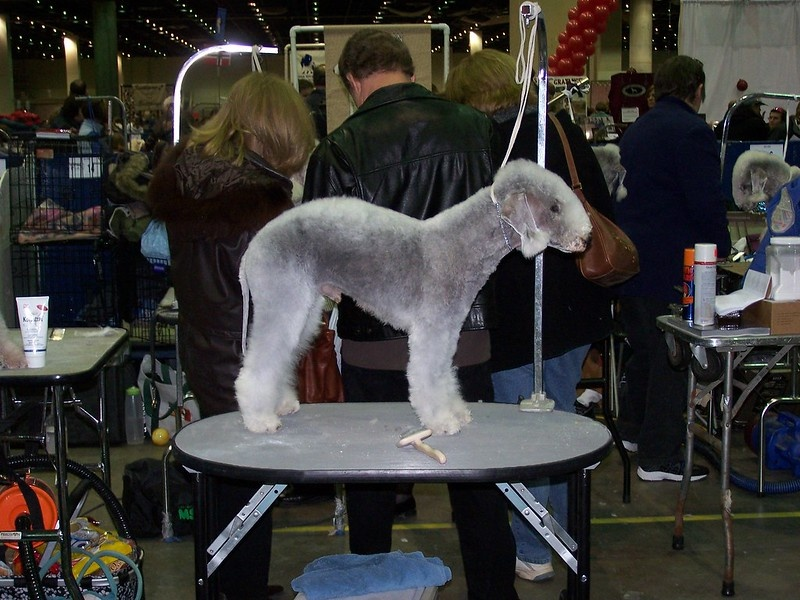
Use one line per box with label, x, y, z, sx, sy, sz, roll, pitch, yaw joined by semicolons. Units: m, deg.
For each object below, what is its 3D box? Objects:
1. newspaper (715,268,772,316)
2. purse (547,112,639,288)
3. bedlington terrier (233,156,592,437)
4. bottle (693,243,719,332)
newspaper;1.765;-0.045;4.357;0.283;0.199;0.263;-2;15;-2
purse;0.913;-0.454;3.830;0.336;0.729;0.303;-1;21;-7
bedlington terrier;0.012;-0.012;3.312;1.361;1.048;0.326;0;15;3
bottle;1.561;-0.073;4.242;0.124;0.426;0.100;4;16;19
